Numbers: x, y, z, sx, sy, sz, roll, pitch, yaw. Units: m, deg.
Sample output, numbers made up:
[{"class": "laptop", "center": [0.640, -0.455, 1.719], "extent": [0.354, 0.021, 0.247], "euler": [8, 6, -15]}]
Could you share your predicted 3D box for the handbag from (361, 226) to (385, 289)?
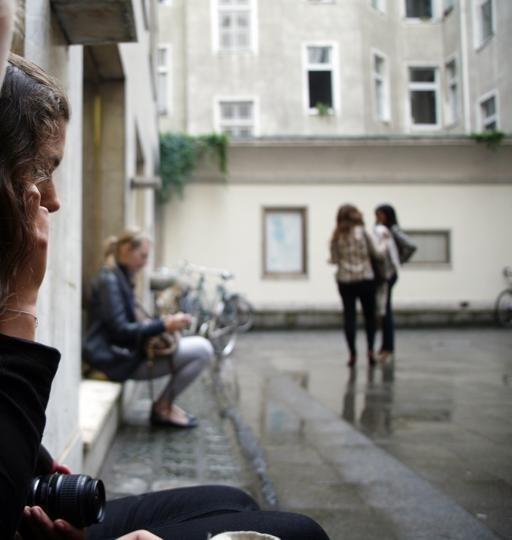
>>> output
[{"class": "handbag", "center": [1.092, -0.106, 6.475], "extent": [0.090, 0.447, 0.287], "euler": [-12, 10, 5]}]

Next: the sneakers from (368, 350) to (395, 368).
[{"class": "sneakers", "center": [1.210, 0.855, 6.870], "extent": [0.317, 0.145, 0.148], "euler": [-4, -4, -28]}]

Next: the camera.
[{"class": "camera", "center": [-0.328, 0.385, 1.256], "extent": [0.132, 0.077, 0.066], "euler": [0, 8, 31]}]

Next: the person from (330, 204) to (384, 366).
[{"class": "person", "center": [0.905, 0.177, 6.437], "extent": [0.465, 1.517, 0.528], "euler": [-3, 6, -20]}]

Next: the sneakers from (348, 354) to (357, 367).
[{"class": "sneakers", "center": [0.914, 0.852, 6.764], "extent": [0.096, 0.161, 0.338], "euler": [2, -5, 6]}]

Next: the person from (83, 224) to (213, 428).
[{"class": "person", "center": [-0.547, 0.308, 3.752], "extent": [0.542, 1.112, 0.442], "euler": [-1, 14, -2]}]
